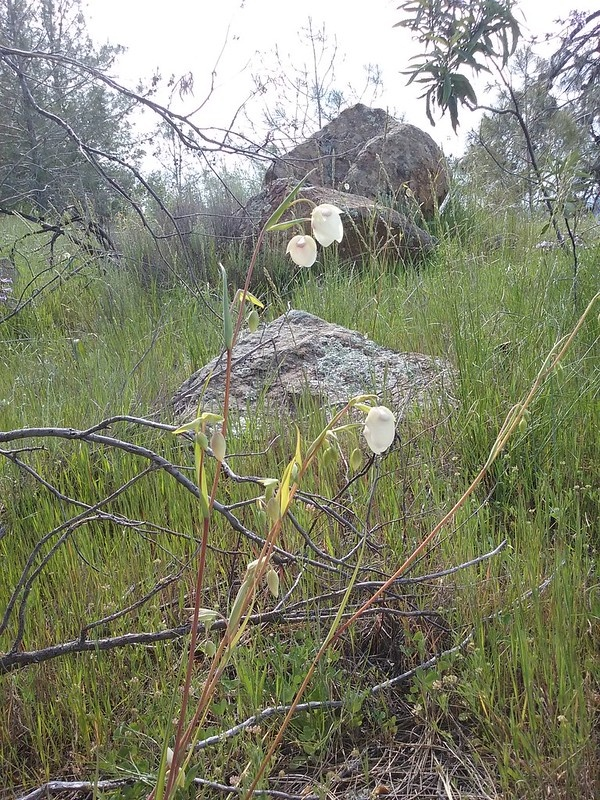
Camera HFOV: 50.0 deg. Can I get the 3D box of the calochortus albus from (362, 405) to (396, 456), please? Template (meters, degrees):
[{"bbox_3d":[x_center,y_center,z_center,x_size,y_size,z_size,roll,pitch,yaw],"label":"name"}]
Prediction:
[{"bbox_3d":[0.134,0.047,1.133,0.042,0.141,0.063,1,1,4],"label":"calochortus albus"}]
